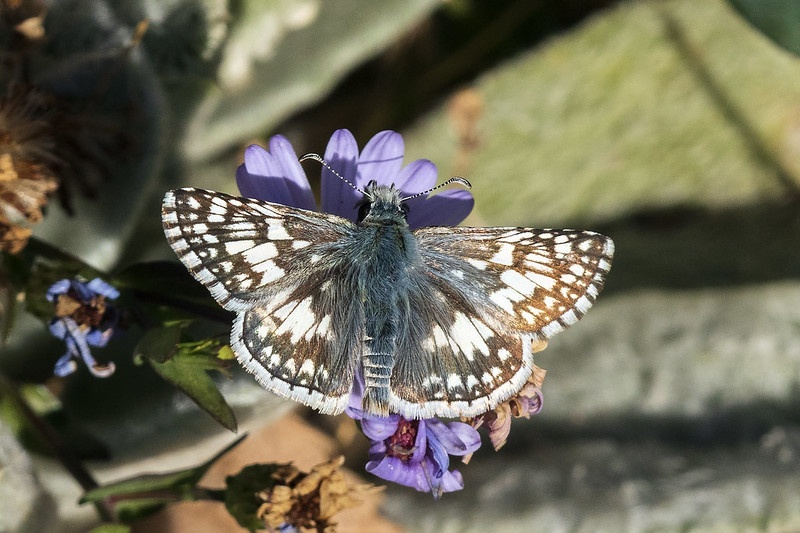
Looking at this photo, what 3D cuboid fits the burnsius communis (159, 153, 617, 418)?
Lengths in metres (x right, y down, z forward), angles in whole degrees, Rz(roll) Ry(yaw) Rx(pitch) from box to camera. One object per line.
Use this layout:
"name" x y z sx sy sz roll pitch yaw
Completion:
"burnsius communis" -0.020 0.019 0.885 0.426 0.038 0.227 9 76 -12

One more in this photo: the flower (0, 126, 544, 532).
"flower" -0.126 0.060 0.817 0.459 0.153 0.314 -11 59 -15
